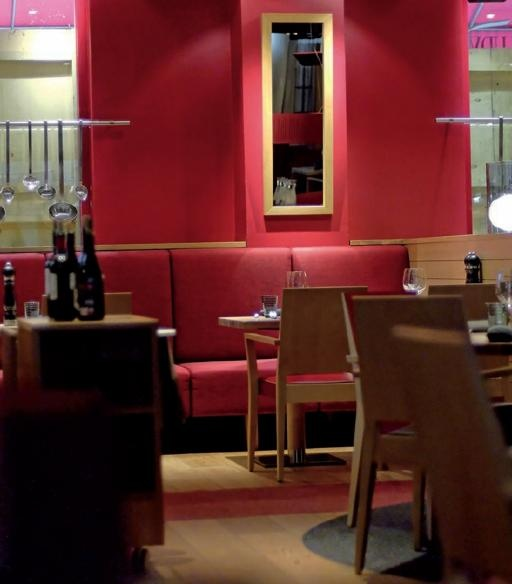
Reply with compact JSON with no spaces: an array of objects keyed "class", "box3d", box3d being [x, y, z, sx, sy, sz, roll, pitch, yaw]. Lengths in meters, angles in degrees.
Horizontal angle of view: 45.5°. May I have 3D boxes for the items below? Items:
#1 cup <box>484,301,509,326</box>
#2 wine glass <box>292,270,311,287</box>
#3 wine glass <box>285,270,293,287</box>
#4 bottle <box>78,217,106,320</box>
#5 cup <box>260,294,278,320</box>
[{"class":"cup","box3d":[0.725,0.071,1.845,0.065,0.109,0.075,0,-4,-3]},{"class":"wine glass","box3d":[0.249,-0.069,3.319,0.087,0.107,0.097,-2,-5,13]},{"class":"wine glass","box3d":[0.179,-0.068,3.323,0.051,0.112,0.060,0,-4,15]},{"class":"bottle","box3d":[-0.481,-0.070,1.781,0.071,0.303,0.187,0,-2,-17]},{"class":"cup","box3d":[0.077,0.078,3.333,0.087,0.145,0.098,-1,-2,0]}]
